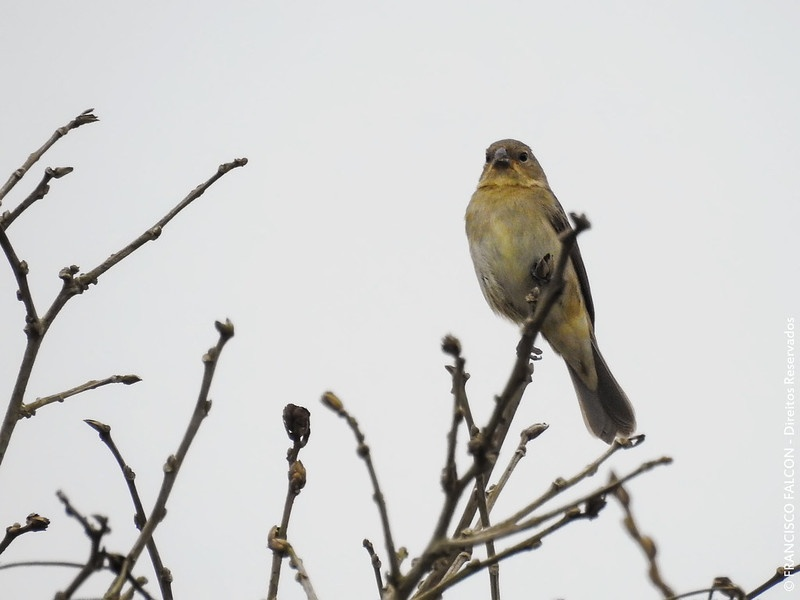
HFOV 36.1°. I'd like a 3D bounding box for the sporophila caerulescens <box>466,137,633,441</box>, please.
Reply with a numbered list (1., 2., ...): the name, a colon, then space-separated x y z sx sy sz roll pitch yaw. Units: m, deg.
1. sporophila caerulescens: 0.737 -0.039 6.529 0.417 0.637 1.720 -17 -88 4
